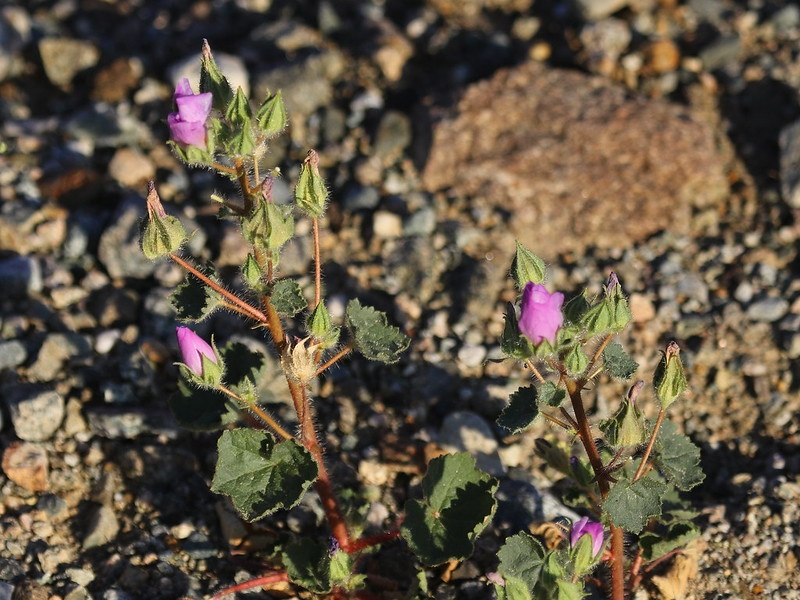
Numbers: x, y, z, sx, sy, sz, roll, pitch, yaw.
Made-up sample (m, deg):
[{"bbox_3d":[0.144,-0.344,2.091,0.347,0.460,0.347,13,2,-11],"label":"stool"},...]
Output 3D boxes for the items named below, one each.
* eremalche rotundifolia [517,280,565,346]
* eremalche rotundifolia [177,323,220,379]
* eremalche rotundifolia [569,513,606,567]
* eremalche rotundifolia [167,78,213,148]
[{"bbox_3d":[0.893,0.070,7.217,0.304,0.400,0.152,-13,13,-5],"label":"eremalche rotundifolia"},{"bbox_3d":[-1.360,0.340,7.637,0.178,0.398,0.146,-30,23,-9],"label":"eremalche rotundifolia"},{"bbox_3d":[1.236,1.542,7.464,0.281,0.320,0.172,-15,13,-13],"label":"eremalche rotundifolia"},{"bbox_3d":[-1.355,-1.227,7.354,0.321,0.423,0.199,-18,-16,32],"label":"eremalche rotundifolia"}]
